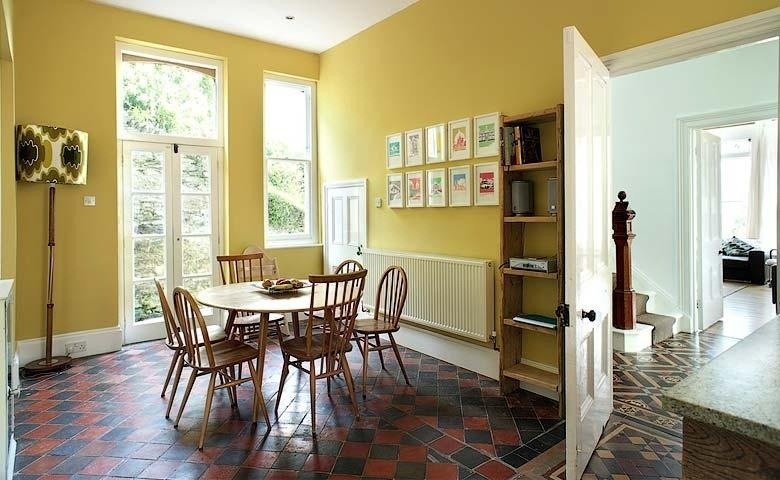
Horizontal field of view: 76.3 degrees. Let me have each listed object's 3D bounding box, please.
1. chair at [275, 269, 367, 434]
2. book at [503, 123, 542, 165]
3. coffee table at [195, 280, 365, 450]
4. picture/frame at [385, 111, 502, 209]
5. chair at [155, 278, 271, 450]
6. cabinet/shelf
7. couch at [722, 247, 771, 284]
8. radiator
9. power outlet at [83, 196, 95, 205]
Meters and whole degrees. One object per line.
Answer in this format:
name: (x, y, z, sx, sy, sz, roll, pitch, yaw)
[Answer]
chair: (-0.734, 1.033, 5.198, 0.958, 1.480, 1.359, -2, 5, -5)
book: (1.332, -0.965, 5.041, 0.487, 0.437, 0.266, -1, 1, -42)
coffee table: (-1.154, 1.199, 5.304, 1.403, 1.258, 1.290, 9, 10, 33)
picture/frame: (0.635, -0.901, 5.947, 1.703, 0.950, 0.039, -14, 13, -31)
chair: (-1.755, 1.122, 4.883, 0.902, 1.458, 1.011, -4, 5, -25)
cabinet/shelf: (1.438, 0.198, 5.043, 0.690, 3.018, 0.473, 1, 5, 26)
couch: (6.776, 0.511, 9.396, 0.397, 0.473, 0.672, -8, 10, -41)
radiator: (0.386, 0.624, 6.096, 1.895, 0.938, 0.214, 6, 15, 42)
power outlet: (-3.718, -0.488, 6.091, 0.110, 0.092, 0.018, 0, 2, -31)
